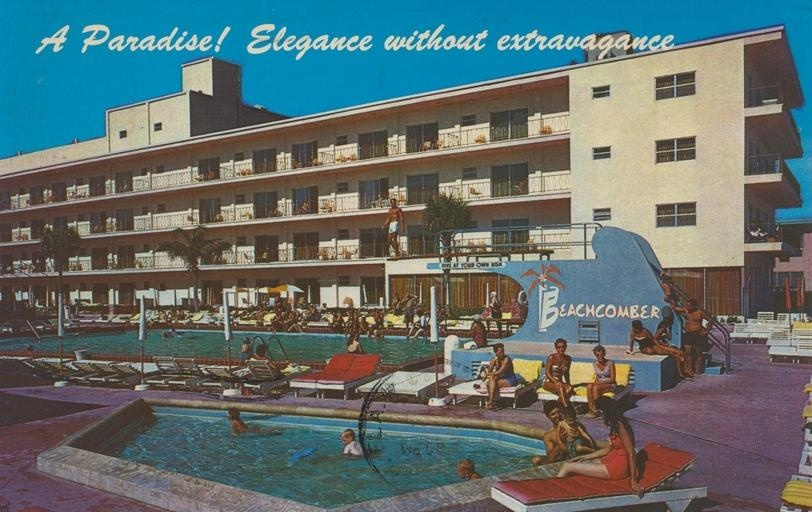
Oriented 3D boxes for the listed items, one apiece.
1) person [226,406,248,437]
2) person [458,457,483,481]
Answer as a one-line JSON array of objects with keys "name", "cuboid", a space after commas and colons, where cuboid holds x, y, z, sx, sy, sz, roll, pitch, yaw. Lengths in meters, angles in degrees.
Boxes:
[{"name": "person", "cuboid": [-6.546, 6.292, 30.949, 0.871, 0.956, 0.463, -6, -7, 38]}, {"name": "person", "cuboid": [2.112, 7.221, 27.403, 0.741, 0.864, 0.776, -25, -24, 39]}]
